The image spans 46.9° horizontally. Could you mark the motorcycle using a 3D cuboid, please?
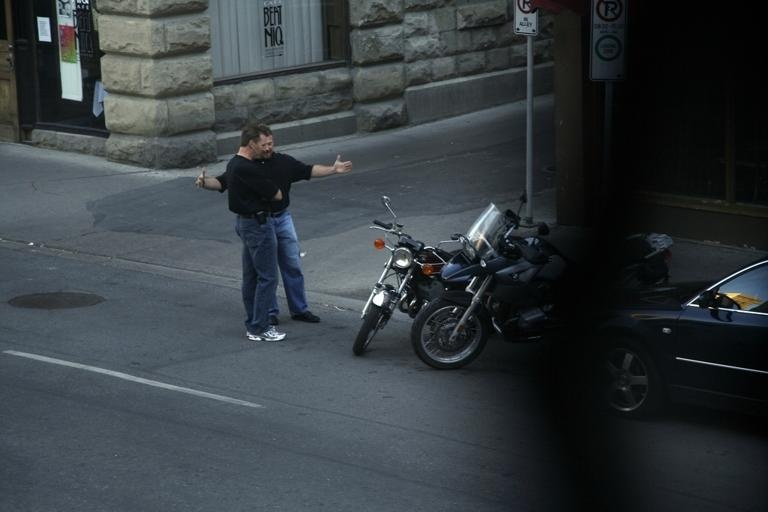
[{"bbox_3d":[1.565,0.178,10.275,3.704,1.734,1.711,-8,25,-2],"label":"motorcycle"}]

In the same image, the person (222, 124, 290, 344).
[{"bbox_3d":[-1.517,-0.283,10.419,0.630,2.448,0.898,-3,19,-10],"label":"person"}]

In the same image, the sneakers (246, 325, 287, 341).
[{"bbox_3d":[-1.392,0.892,10.487,0.466,0.188,0.171,-1,13,-4],"label":"sneakers"}]

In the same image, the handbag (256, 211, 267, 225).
[{"bbox_3d":[-1.437,-0.454,10.334,0.149,0.142,0.049,-3,19,-12],"label":"handbag"}]

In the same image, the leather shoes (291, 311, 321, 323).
[{"bbox_3d":[-0.964,0.759,11.118,0.389,0.143,0.143,0,10,10],"label":"leather shoes"}]

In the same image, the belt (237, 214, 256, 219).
[{"bbox_3d":[-1.605,-0.472,10.343,0.217,0.047,0.040,5,18,14],"label":"belt"}]
